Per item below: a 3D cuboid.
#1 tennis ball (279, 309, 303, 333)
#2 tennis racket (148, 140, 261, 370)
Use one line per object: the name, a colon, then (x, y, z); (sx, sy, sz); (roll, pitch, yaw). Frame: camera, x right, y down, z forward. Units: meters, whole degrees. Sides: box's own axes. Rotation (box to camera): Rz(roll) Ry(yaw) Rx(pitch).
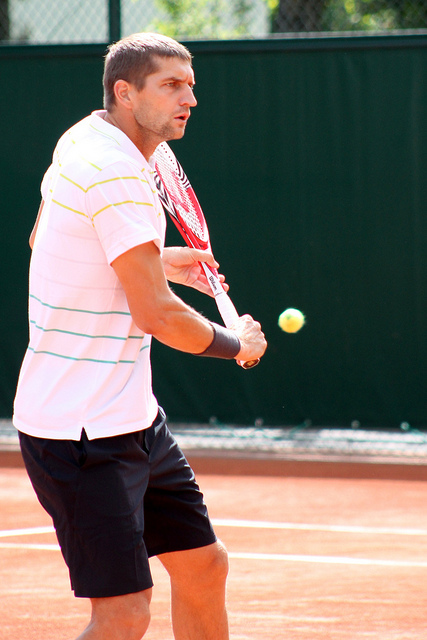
tennis ball: (0.368, 0.007, 3.692); (0.117, 0.099, 0.059); (-4, 2, 16)
tennis racket: (-0.089, -0.256, 2.295); (0.074, 0.215, 0.908); (-25, 36, 5)
